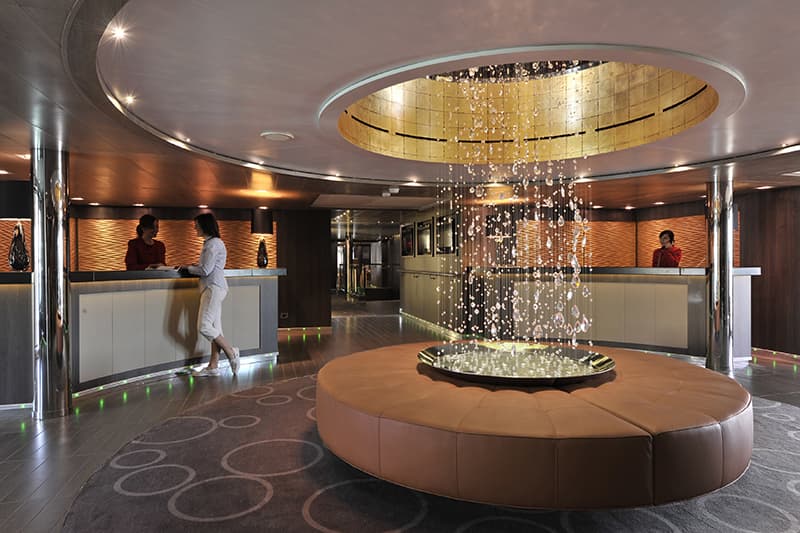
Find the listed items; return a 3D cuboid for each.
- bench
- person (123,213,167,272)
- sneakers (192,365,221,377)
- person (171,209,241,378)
[{"bbox_3d":[0.945,1.202,3.993,3.104,0.590,1.407,2,9,15],"label":"bench"},{"bbox_3d":[-3.178,-0.257,6.728,0.564,0.769,0.592,0,2,9],"label":"person"},{"bbox_3d":[-2.493,1.317,6.712,0.358,0.123,0.158,2,-4,11],"label":"sneakers"},{"bbox_3d":[-2.447,0.355,6.745,0.616,2.036,0.632,-3,9,-20],"label":"person"}]
